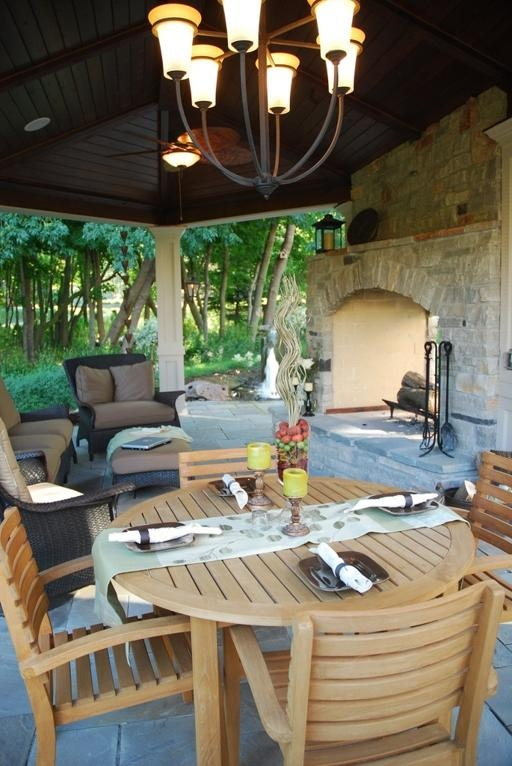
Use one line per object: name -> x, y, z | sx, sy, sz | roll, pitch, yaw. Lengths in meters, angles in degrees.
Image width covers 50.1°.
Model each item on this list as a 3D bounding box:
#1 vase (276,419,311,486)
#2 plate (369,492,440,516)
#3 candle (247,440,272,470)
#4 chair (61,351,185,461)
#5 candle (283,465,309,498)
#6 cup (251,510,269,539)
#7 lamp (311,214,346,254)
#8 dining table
vase -> 0.114, 0.242, 1.940 | 0.123, 0.209, 0.125 | 4, 5, 2
plate -> 0.481, 0.388, 1.787 | 0.150, 0.041, 0.102 | -4, 3, -9
candle -> 0.012, 0.239, 1.827 | 0.087, 0.099, 0.085 | -1, 3, -7
chair -> -1.384, 0.106, 5.630 | 1.080, 0.944, 1.096 | -5, 5, -30
candle -> 0.109, 0.287, 1.596 | 0.078, 0.087, 0.075 | 0, 1, -2
cup -> 0.015, 0.429, 1.636 | 0.053, 0.075, 0.051 | 1, 8, 0
lamp -> 0.787, -1.629, 6.020 | 0.287, 0.525, 0.797 | 0, 1, 5
dining table -> 0.085, 0.489, 1.550 | 0.831, 0.553, 0.815 | -3, 10, -5
